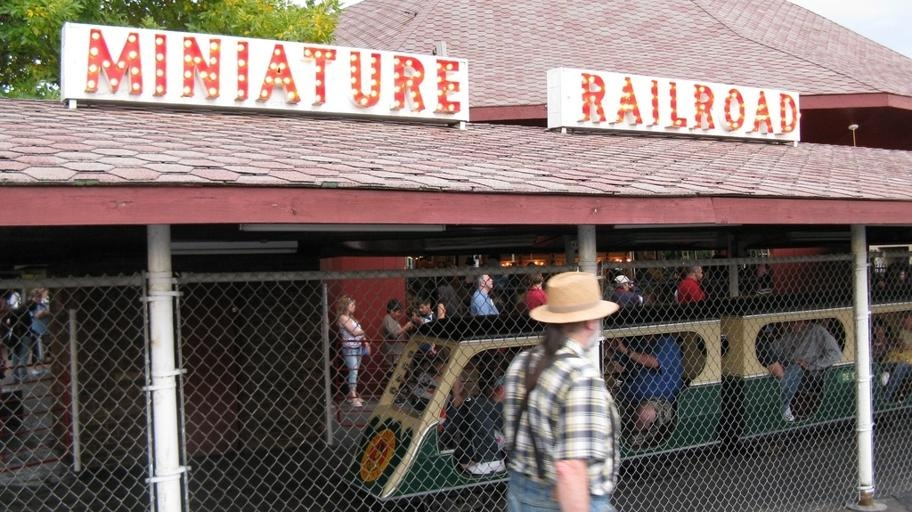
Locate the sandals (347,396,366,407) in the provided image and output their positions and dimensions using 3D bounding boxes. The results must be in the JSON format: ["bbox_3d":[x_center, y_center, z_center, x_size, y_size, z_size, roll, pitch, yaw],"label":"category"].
[{"bbox_3d":[-1.954,2.861,16.984,0.201,0.218,0.555,2,-15,-16],"label":"sandals"}]

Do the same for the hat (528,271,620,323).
[{"bbox_3d":[1.343,0.476,9.835,0.758,0.262,0.678,-9,9,-10],"label":"hat"}]
